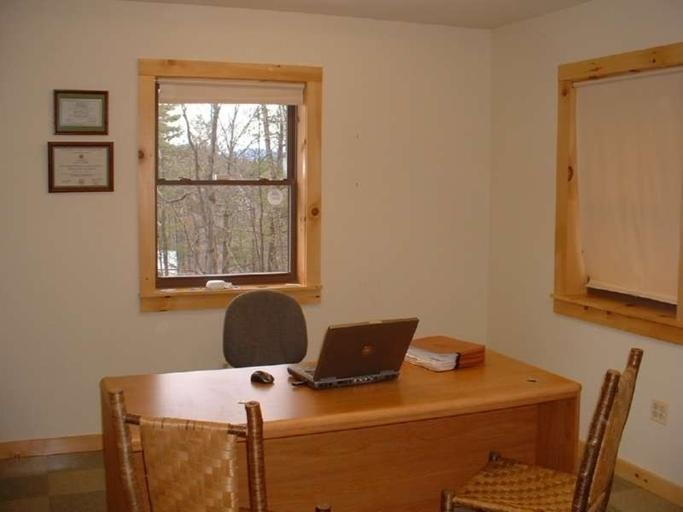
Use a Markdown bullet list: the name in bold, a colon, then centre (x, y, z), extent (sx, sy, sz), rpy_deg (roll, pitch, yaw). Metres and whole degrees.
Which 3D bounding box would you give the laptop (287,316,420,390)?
- **laptop**: centre (0.093, 0.444, 2.559), extent (0.390, 0.271, 0.388), rpy_deg (-2, 9, -25)

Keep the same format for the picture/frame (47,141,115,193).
- **picture/frame**: centre (-1.751, -0.598, 3.774), extent (0.340, 0.299, 0.030), rpy_deg (-1, 2, -20)

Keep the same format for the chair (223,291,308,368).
- **chair**: centre (-0.500, 0.395, 3.573), extent (0.495, 0.654, 0.438), rpy_deg (-1, 8, -18)

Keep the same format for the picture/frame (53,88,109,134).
- **picture/frame**: centre (-1.736, -0.961, 3.748), extent (0.301, 0.267, 0.031), rpy_deg (0, 2, -17)
